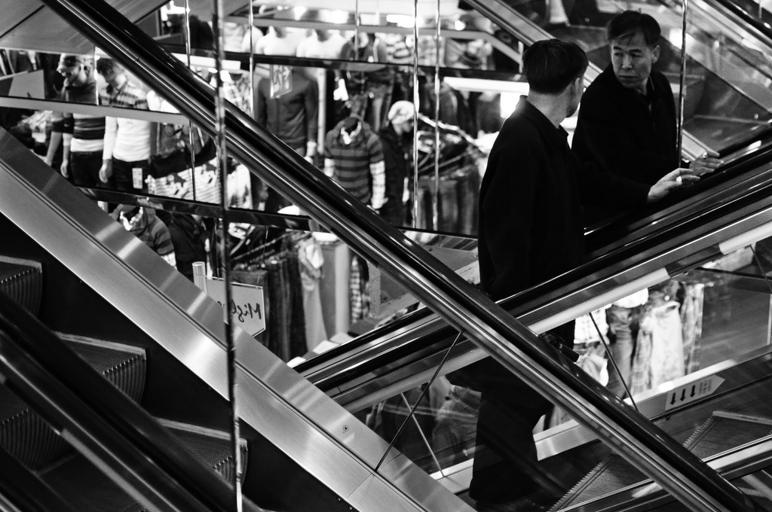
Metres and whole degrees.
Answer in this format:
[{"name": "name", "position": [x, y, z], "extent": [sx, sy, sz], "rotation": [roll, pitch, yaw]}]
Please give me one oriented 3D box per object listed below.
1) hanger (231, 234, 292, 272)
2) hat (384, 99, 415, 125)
[{"name": "hanger", "position": [-0.664, -0.031, 10.450], "extent": [0.267, 0.094, 0.082], "rotation": [-30, 1, 20]}, {"name": "hat", "position": [0.076, -0.760, 9.850], "extent": [0.138, 0.109, 0.104], "rotation": [-37, -25, 24]}]
